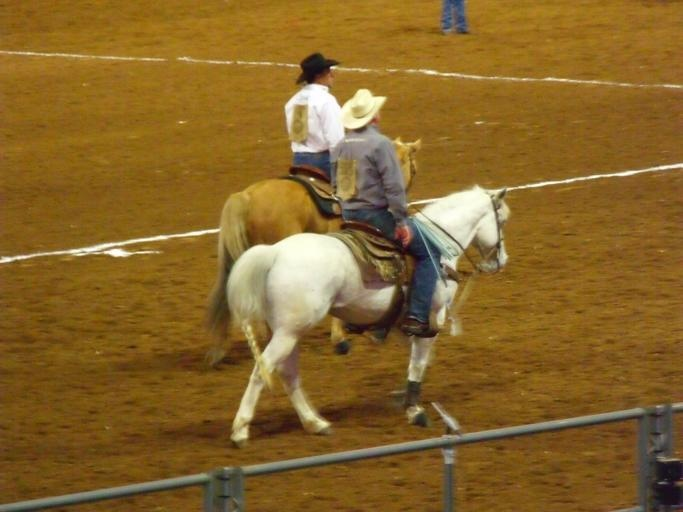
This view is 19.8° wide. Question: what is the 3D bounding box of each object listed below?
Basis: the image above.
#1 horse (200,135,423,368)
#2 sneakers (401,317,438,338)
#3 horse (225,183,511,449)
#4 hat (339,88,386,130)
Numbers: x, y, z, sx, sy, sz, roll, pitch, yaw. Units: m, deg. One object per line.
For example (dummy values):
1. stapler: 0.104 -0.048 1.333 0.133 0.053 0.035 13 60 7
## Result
1. horse: -0.916 -0.282 30.490 1.570 3.323 5.208 11 10 19
2. sneakers: 1.080 1.011 27.410 0.652 0.212 0.228 13 -9 -35
3. horse: 0.361 0.821 28.011 5.432 3.301 1.364 -3 4 -40
4. hat: 0.336 -2.138 27.416 0.776 0.283 0.673 -22 34 22
